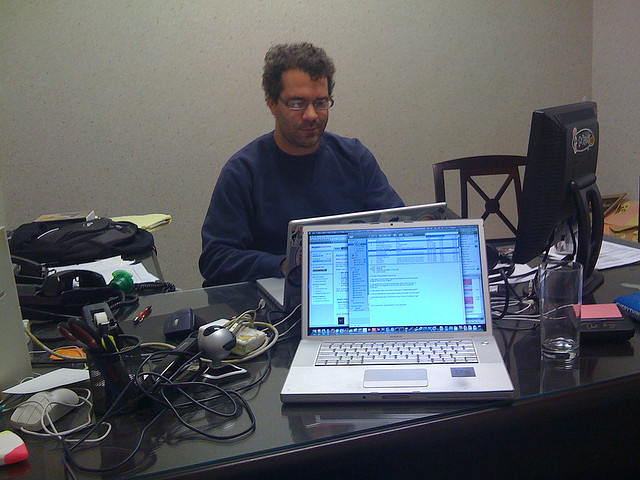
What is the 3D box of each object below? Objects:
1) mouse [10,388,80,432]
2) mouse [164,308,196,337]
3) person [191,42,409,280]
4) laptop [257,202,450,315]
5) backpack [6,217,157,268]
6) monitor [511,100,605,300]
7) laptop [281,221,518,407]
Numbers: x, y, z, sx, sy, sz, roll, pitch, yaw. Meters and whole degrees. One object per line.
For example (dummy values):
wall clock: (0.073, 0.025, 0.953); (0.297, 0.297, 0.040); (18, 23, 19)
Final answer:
mouse: (-0.636, 0.381, 1.236); (0.074, 0.041, 0.126); (9, 15, 20)
mouse: (-0.399, 0.239, 1.537); (0.092, 0.054, 0.098); (-9, 12, -15)
person: (-0.054, -0.321, 2.367); (1.054, 0.961, 0.667); (-8, 14, -25)
laptop: (0.058, 0.035, 1.691); (0.492, 0.366, 0.295); (-4, -5, -12)
backpack: (-1.050, 0.012, 2.330); (0.644, 0.171, 0.463); (-6, 12, -2)
monitor: (0.809, -0.132, 1.763); (0.385, 0.598, 0.198); (-17, 19, -40)
laptop: (0.192, 0.186, 1.393); (0.493, 0.301, 0.442); (0, 26, 3)
